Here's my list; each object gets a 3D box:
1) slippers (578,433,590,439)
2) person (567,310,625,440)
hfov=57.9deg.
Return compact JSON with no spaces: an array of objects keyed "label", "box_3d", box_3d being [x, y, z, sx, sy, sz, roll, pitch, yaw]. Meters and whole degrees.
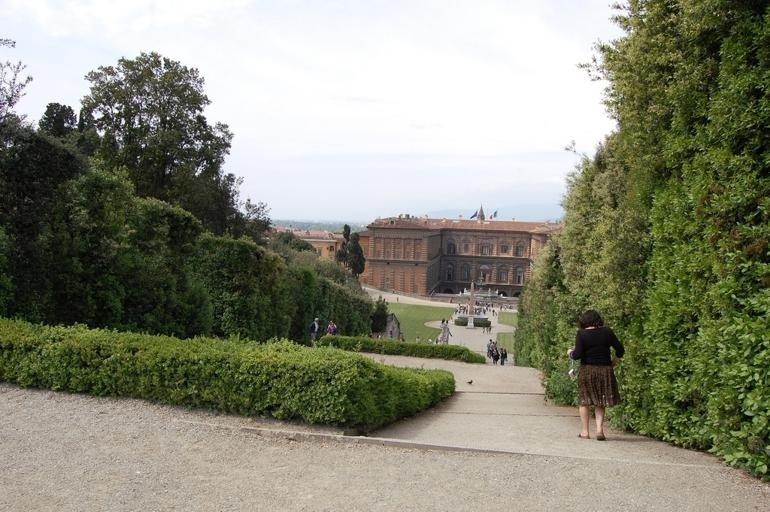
[{"label":"slippers","box_3d":[3.484,3.146,12.197,0.191,0.073,0.225,0,-5,15]},{"label":"person","box_3d":[3.817,2.097,12.580,0.898,2.246,1.067,0,-3,19]}]
